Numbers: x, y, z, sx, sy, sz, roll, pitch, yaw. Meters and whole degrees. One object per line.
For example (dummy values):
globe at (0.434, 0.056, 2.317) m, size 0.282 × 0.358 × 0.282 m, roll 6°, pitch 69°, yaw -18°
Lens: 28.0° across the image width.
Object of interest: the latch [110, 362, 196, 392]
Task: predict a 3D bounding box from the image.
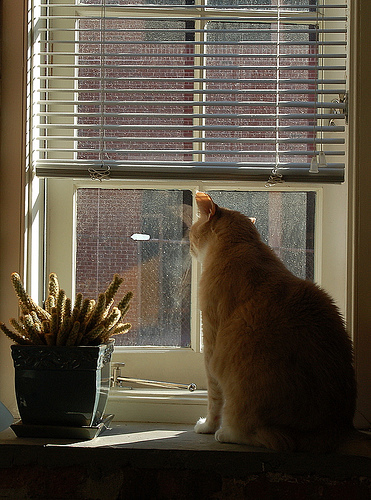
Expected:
latch at (-0.084, 0.327, 1.933) m, size 0.222 × 0.068 × 0.057 m, roll 1°, pitch 1°, yaw -1°

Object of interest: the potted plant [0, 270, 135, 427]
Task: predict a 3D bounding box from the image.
potted plant at (-0.256, 0.230, 1.806) m, size 0.315 × 0.404 × 0.333 m, roll 1°, pitch -7°, yaw 3°

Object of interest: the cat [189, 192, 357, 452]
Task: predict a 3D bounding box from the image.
cat at (0.167, 0.142, 1.696) m, size 0.233 × 0.551 × 0.448 m, roll 1°, pitch 2°, yaw -34°

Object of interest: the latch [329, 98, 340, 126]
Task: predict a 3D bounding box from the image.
latch at (0.379, -0.351, 1.880) m, size 0.042 × 0.057 × 0.021 m, roll 0°, pitch -7°, yaw 9°
